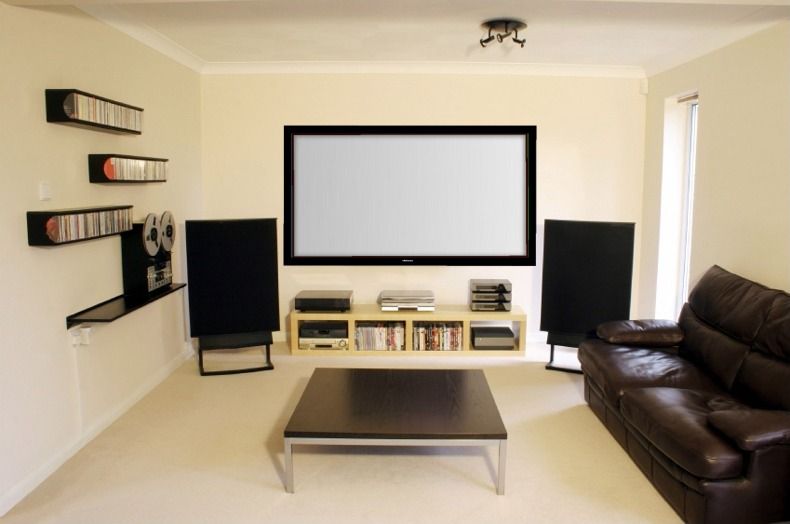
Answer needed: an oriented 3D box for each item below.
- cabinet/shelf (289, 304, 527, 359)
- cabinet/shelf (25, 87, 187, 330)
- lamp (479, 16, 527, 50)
[{"bbox_3d":[0.107,0.740,6.065,2.450,0.486,0.419,1,14,0],"label":"cabinet/shelf"},{"bbox_3d":[-2.402,-0.437,4.553,0.487,1.901,2.113,1,7,3],"label":"cabinet/shelf"},{"bbox_3d":[0.945,-2.002,4.933,0.403,0.161,0.643,3,14,10],"label":"lamp"}]
